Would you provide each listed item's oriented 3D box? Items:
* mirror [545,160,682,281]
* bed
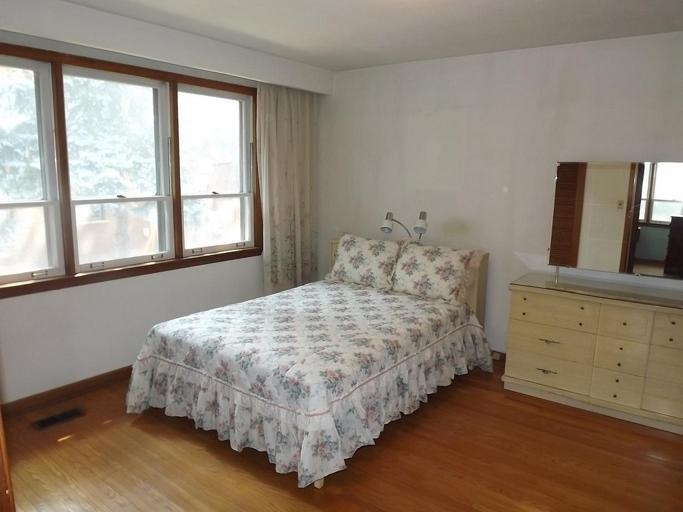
[{"bbox_3d":[2.328,-0.303,4.058,0.923,1.001,0.068,4,7,31],"label":"mirror"},{"bbox_3d":[-0.176,0.660,4.025,2.732,1.290,1.724,-10,14,-41],"label":"bed"}]
